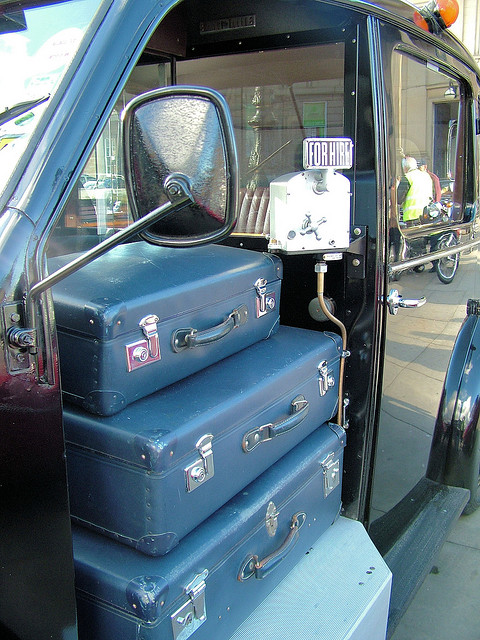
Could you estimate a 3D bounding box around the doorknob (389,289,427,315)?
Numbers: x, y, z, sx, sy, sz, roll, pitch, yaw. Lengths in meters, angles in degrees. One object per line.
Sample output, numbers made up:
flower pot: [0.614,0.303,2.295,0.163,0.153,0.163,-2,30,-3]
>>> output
doorknob: [0.542,-0.061,1.558,0.125,0.091,0.098,0,18,2]

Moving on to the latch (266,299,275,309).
latch: [0.093,-0.050,1.409,0.006,0.024,0.023,9,5,36]

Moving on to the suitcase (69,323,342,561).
suitcase: [-0.067,0.248,1.299,0.499,0.253,0.785,5,16,35]

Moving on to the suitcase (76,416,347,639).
suitcase: [-0.112,0.464,1.103,0.357,0.183,0.478,5,11,28]

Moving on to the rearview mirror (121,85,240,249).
rearview mirror: [-0.086,-0.198,0.631,0.171,0.204,0.086,3,17,10]

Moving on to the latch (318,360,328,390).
latch: [0.254,0.173,1.425,0.017,0.072,0.052,-2,-2,26]

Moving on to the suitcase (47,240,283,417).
suitcase: [-0.218,-0.026,1.281,0.484,0.233,0.616,15,24,39]
